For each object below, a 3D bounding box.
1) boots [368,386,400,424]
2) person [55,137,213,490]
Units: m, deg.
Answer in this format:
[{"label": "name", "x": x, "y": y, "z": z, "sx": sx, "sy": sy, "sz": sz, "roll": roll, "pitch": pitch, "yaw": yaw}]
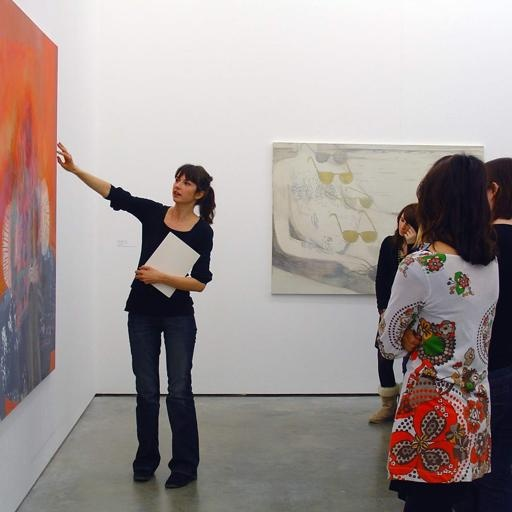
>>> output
[{"label": "boots", "x": 0.965, "y": 1.079, "z": 4.009, "sx": 0.239, "sy": 0.310, "sz": 0.145, "roll": -12, "pitch": 19, "yaw": 1}, {"label": "person", "x": -0.569, "y": 0.354, "z": 3.008, "sx": 0.642, "sy": 1.753, "sz": 0.381, "roll": 1, "pitch": 1, "yaw": -3}]
